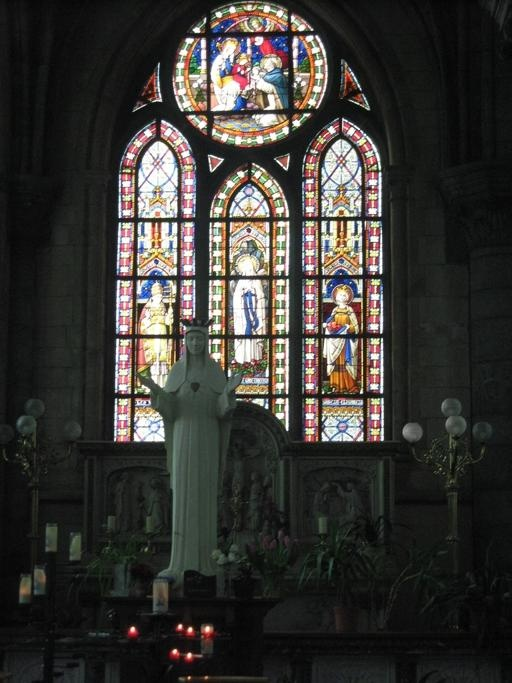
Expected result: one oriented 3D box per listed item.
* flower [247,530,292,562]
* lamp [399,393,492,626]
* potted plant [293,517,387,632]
[{"bbox_3d":[0.162,1.832,17.880,0.255,0.237,0.412,-1,-5,19],"label":"flower"},{"bbox_3d":[1.888,1.726,19.455,0.752,2.310,0.827,-5,-11,25],"label":"lamp"},{"bbox_3d":[0.786,2.040,17.429,0.826,1.231,0.935,1,-10,10],"label":"potted plant"}]
